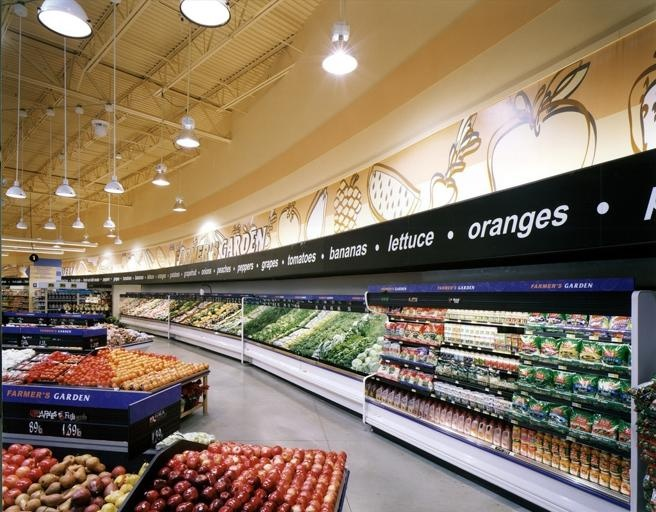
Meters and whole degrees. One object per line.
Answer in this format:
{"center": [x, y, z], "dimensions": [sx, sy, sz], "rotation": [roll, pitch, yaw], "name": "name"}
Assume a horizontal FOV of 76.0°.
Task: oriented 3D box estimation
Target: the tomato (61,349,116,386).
{"center": [-3.078, 1.475, 5.421], "dimensions": [0.276, 0.297, 0.450], "rotation": [-1, 2, 9], "name": "tomato"}
